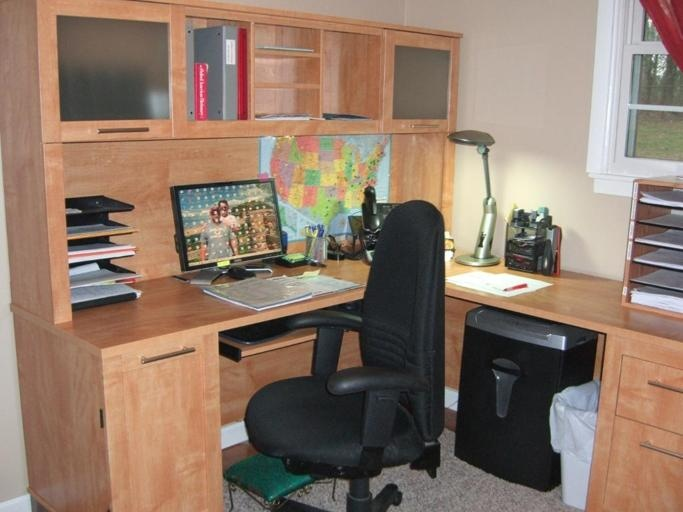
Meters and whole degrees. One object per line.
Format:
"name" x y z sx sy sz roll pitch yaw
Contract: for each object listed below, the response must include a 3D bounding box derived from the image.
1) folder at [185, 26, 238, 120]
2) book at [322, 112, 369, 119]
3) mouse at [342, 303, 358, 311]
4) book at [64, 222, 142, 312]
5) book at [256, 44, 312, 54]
"folder" -0.585 -0.822 2.461 0.238 0.402 0.111 8 17 32
"book" 0.020 -0.737 2.878 0.133 0.027 0.125 8 10 32
"mouse" 0.046 0.238 2.565 0.054 0.031 0.036 -3 14 -30
"book" -1.004 0.048 2.256 0.267 0.310 0.350 8 13 35
"book" -0.284 -1.006 2.642 0.139 0.019 0.156 13 16 41
